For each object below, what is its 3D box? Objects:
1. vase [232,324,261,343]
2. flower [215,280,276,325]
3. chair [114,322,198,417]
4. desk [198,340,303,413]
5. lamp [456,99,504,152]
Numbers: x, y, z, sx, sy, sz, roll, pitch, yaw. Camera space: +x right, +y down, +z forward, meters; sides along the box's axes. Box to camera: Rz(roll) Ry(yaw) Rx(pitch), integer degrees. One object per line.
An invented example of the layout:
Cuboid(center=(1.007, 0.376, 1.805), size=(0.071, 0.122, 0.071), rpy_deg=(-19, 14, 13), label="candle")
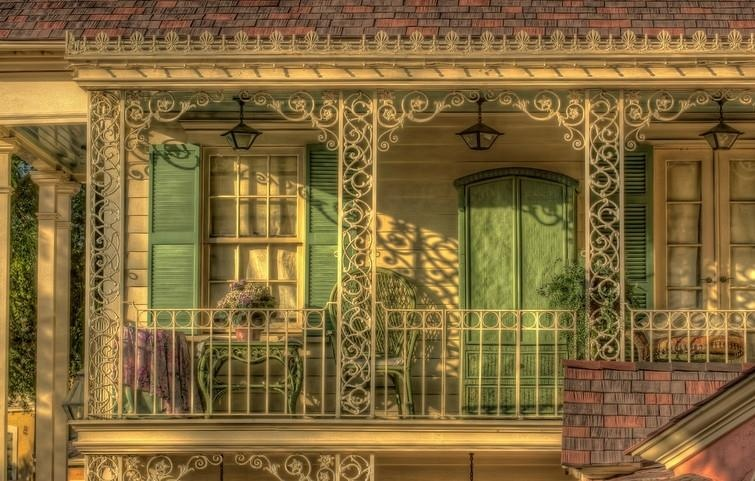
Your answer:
Cuboid(center=(-1.695, 1.247, 32.105), size=(0.325, 0.150, 0.291), rpy_deg=(1, -3, -11), label="vase")
Cuboid(center=(-1.729, 0.849, 32.143), size=(0.762, 0.440, 0.703), rpy_deg=(0, 1, -27), label="flower")
Cuboid(center=(-2.889, 1.705, 31.835), size=(0.914, 1.313, 1.194), rpy_deg=(0, -16, -5), label="chair")
Cuboid(center=(-1.670, 1.826, 32.198), size=(1.457, 1.149, 1.570), rpy_deg=(0, -16, -4), label="desk")
Cuboid(center=(1.447, -1.577, 32.594), size=(0.848, 0.778, 0.646), rpy_deg=(0, -6, 2), label="lamp")
